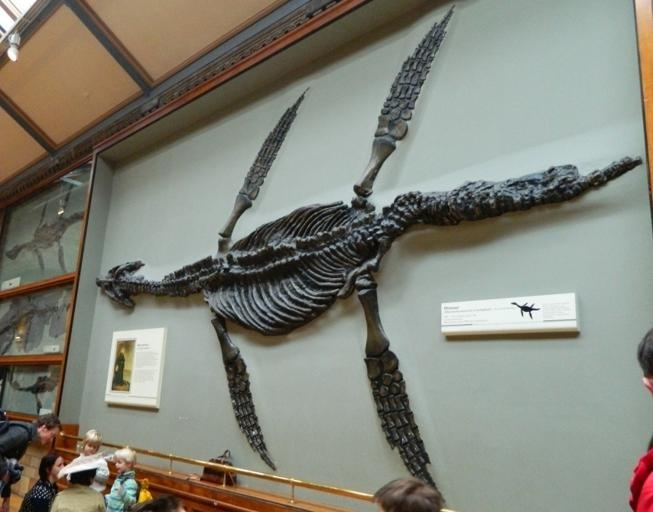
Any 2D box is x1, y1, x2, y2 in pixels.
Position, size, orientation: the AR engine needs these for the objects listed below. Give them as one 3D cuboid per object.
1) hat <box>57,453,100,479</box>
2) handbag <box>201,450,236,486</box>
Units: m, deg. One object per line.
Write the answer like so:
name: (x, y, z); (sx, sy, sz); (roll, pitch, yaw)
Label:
hat: (-1.753, 1.497, 3.604); (0.291, 0.073, 0.279); (-32, -13, 36)
handbag: (-0.877, 1.727, 4.238); (0.323, 0.347, 0.182); (-11, -21, 34)
